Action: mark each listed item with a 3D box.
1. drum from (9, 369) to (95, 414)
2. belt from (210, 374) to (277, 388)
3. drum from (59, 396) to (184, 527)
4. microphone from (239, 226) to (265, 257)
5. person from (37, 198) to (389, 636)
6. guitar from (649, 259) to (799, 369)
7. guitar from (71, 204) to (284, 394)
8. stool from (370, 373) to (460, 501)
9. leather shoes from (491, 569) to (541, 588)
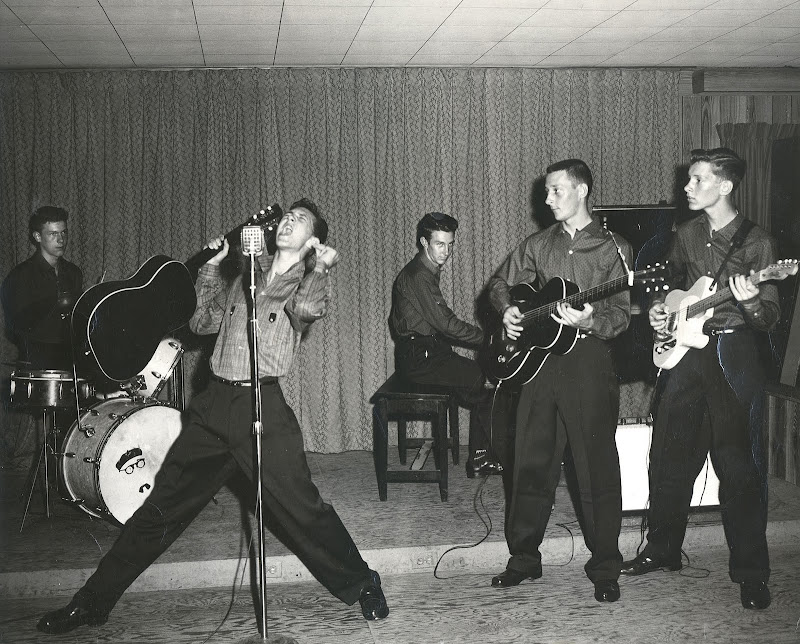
[{"bbox_3d":[-2.148,0.403,5.299,0.315,0.133,0.333,6,2,0],"label":"drum"},{"bbox_3d":[-0.786,0.285,4.315,0.335,0.070,0.110,-2,8,5],"label":"belt"},{"bbox_3d":[-1.669,0.842,5.291,0.436,0.778,0.778,4,7,27],"label":"drum"},{"bbox_3d":[-0.709,-0.390,4.203,0.110,0.157,0.256,-4,8,-11],"label":"microphone"},{"bbox_3d":[-0.866,0.485,4.461,1.512,2.159,0.739,-3,8,-3],"label":"person"},{"bbox_3d":[1.643,-0.014,4.500,0.293,0.638,0.774,-7,9,-27],"label":"guitar"},{"bbox_3d":[-1.219,-0.320,5.484,0.261,0.821,1.846,2,40,36],"label":"guitar"},{"bbox_3d":[0.138,0.794,6.294,0.470,0.707,1.190,0,3,5],"label":"stool"},{"bbox_3d":[0.659,1.415,4.880,0.292,0.134,0.110,3,0,-9],"label":"leather shoes"}]
